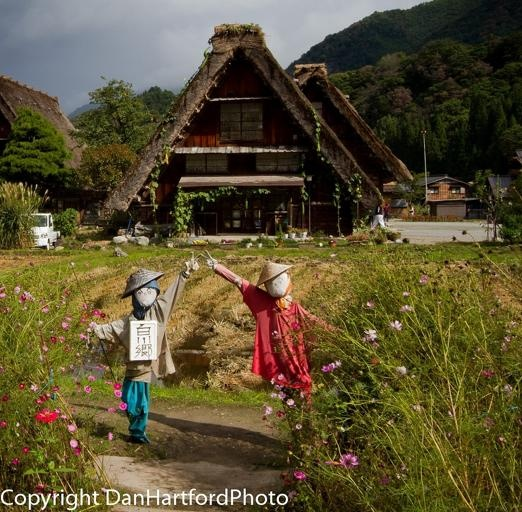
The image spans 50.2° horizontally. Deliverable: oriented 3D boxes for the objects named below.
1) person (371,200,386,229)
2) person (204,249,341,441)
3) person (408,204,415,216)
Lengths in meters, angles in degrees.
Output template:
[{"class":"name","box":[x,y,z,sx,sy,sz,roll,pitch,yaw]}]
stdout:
[{"class":"person","box":[3.125,-1.127,14.679,0.341,0.706,0.842,1,1,10]},{"class":"person","box":[0.039,0.866,5.304,1.407,0.580,1.950,-11,39,2]},{"class":"person","box":[13.344,-4.103,48.647,0.474,0.940,1.622,1,1,15]}]
